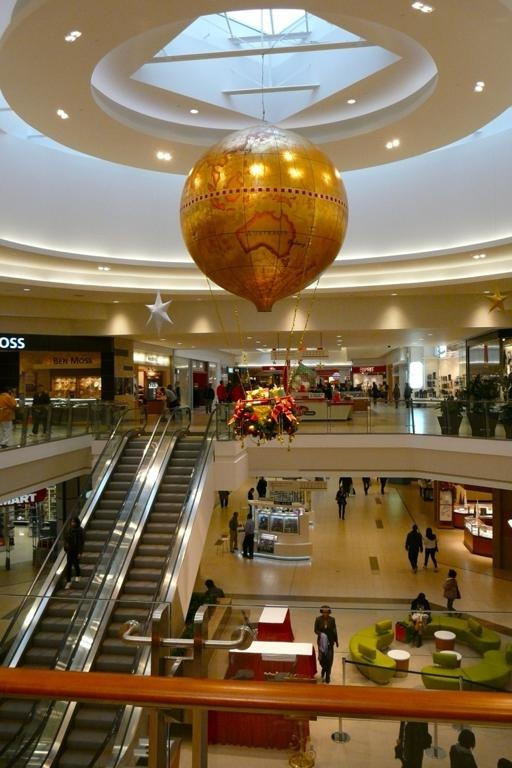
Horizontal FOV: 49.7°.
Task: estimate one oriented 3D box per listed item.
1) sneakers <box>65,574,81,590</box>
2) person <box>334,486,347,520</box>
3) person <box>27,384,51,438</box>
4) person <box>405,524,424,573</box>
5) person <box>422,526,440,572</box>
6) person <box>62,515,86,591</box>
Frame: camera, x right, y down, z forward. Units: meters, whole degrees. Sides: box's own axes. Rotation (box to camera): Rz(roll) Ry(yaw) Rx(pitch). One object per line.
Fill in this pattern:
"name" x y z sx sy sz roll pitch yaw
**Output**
"sneakers" -3.325 3.648 10.122 0.105 0.145 0.330 3 6 2
"person" 3.414 4.790 22.271 0.293 1.111 1.715 -1 0 11
"person" -5.067 0.713 13.053 0.378 0.921 2.159 0 0 -22
"person" 4.408 4.572 15.538 0.384 1.479 1.241 -1 0 15
"person" 4.998 4.681 15.934 0.368 1.428 1.797 -1 0 18
"person" -3.377 3.113 10.291 0.332 1.156 0.592 0 0 -19
